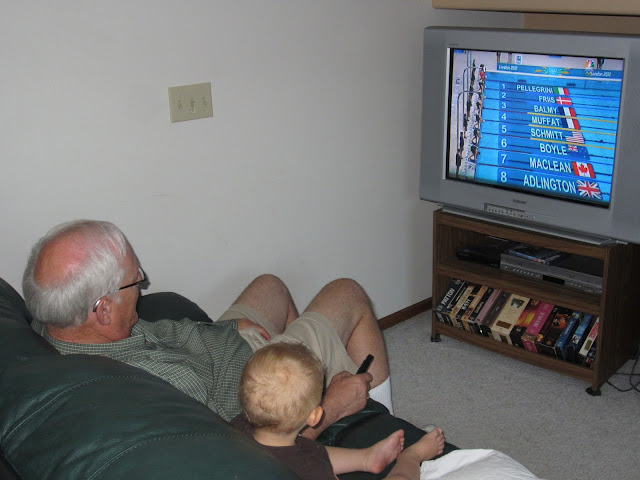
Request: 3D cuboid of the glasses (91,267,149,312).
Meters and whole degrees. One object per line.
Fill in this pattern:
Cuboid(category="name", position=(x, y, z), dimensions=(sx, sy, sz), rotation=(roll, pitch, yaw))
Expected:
Cuboid(category="glasses", position=(-0.560, 0.130, 1.450), dimensions=(0.117, 0.035, 0.111), rotation=(-30, 26, -24))

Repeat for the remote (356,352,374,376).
Cuboid(category="remote", position=(0.180, 0.482, 1.970), dimensions=(0.020, 0.071, 0.071), rotation=(29, -5, 19))
